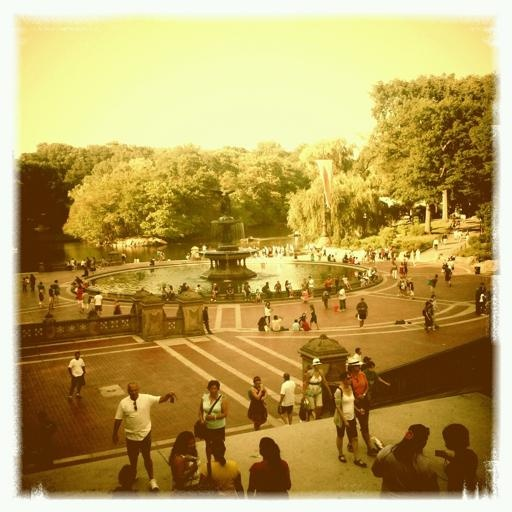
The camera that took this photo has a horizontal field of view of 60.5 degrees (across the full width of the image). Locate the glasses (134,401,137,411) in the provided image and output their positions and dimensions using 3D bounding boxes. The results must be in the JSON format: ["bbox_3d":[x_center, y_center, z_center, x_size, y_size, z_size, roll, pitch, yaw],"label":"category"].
[{"bbox_3d":[-1.615,1.990,5.844,0.046,0.130,0.045,-1,-1,-20],"label":"glasses"}]

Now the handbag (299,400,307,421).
[{"bbox_3d":[0.904,2.934,8.346,0.087,0.394,0.184,0,-1,-31],"label":"handbag"}]

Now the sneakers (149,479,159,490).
[{"bbox_3d":[-1.344,3.045,5.836,0.088,0.077,0.141,9,-2,-24],"label":"sneakers"}]

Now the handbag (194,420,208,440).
[{"bbox_3d":[-0.759,2.440,6.081,0.220,0.261,0.062,7,-1,24],"label":"handbag"}]

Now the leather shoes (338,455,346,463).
[{"bbox_3d":[1.296,2.982,6.524,0.116,0.069,0.197,-1,-2,8],"label":"leather shoes"}]
